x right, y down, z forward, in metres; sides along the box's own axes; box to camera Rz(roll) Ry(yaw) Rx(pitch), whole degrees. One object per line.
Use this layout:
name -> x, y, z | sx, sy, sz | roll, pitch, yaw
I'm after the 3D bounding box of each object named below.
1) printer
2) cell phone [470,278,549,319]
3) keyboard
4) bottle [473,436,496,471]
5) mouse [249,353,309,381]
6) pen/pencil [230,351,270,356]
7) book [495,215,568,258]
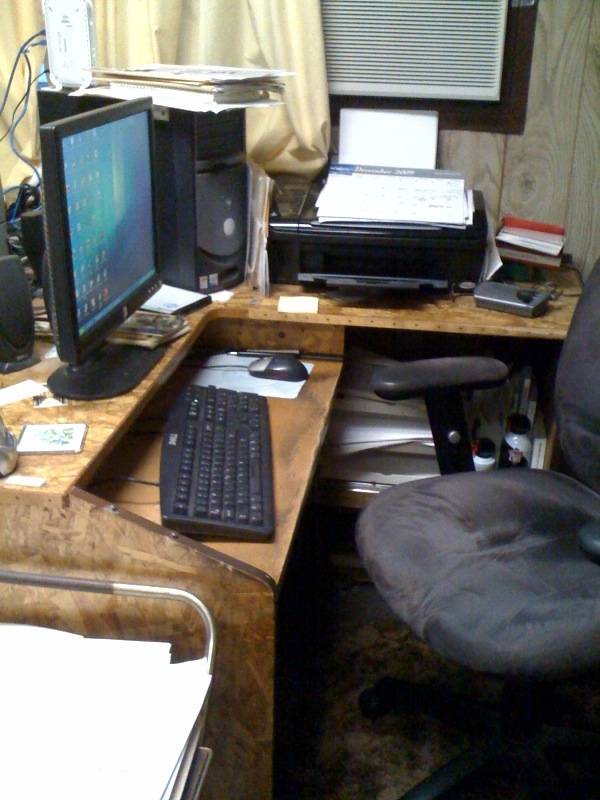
printer -> 0.214, -0.380, 1.418 | 0.428, 0.156, 0.331 | 4, 45, -1
cell phone -> 0.454, -0.222, 1.348 | 0.118, 0.033, 0.094 | 13, 35, 23
keyboard -> -0.126, 0.090, 0.958 | 0.158, 0.039, 0.387 | 1, 25, -6
bottle -> 0.471, 0.139, 1.610 | 0.052, 0.075, 0.068 | 1, 9, 6
mouse -> -0.044, -0.072, 1.282 | 0.082, 0.030, 0.062 | 7, 23, 4
pen/pencil -> -0.110, -0.102, 1.372 | 0.077, 0.014, 0.012 | -1, 6, 3
book -> 0.572, -0.405, 1.572 | 0.145, 0.054, 0.117 | 17, 41, 7
